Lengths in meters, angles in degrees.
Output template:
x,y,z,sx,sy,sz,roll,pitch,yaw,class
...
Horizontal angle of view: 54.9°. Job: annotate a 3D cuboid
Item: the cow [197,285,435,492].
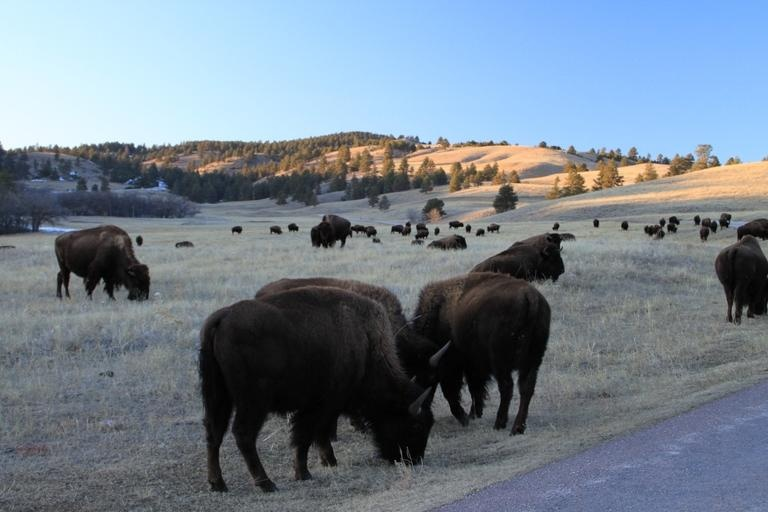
x,y,z,sx,sy,sz,roll,pitch,yaw,class
-1.156,2.048,11.651,3.337,2.872,0.985,-4,12,-15,cow
